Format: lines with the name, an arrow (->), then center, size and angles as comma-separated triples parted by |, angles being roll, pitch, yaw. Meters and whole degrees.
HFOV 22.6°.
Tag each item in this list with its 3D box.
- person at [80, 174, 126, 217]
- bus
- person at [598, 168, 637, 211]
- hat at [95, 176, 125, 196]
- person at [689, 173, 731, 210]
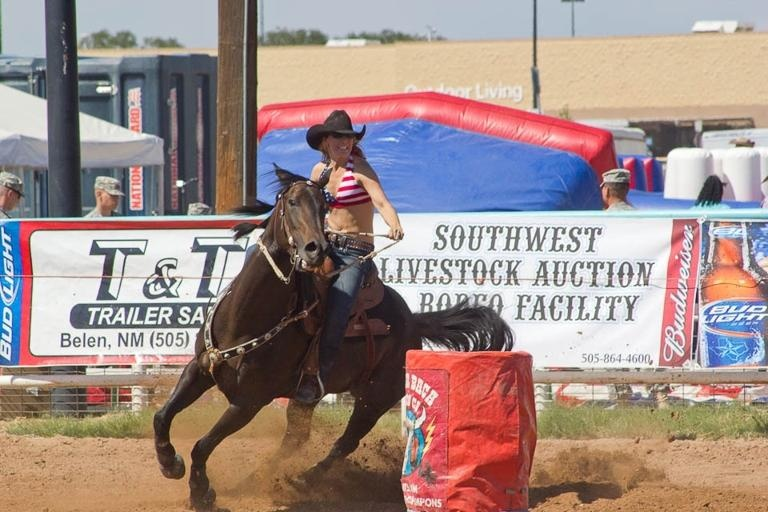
person -> -5.590, -1.145, 38.687 | 0.533, 0.800, 0.949 | 0, 2, -6
bus -> 9.969, -3.941, 63.943 | 4.153, 1.398, 1.521 | 0, 2, -21
person -> 4.614, -1.261, 37.730 | 0.584, 0.797, 0.822 | 1, 2, 4
hat -> -5.563, -1.367, 38.760 | 0.654, 0.330, 0.493 | 5, 1, -7
person -> 6.704, -1.170, 38.736 | 0.742, 0.525, 1.092 | -2, 9, 16
